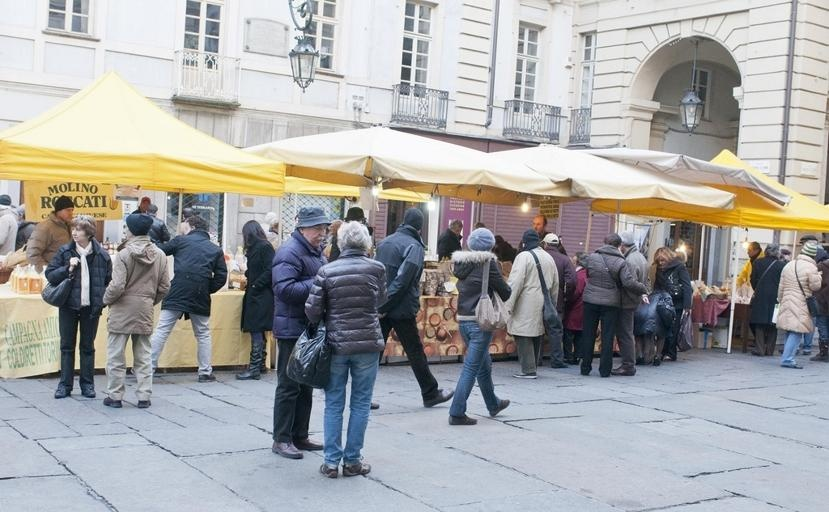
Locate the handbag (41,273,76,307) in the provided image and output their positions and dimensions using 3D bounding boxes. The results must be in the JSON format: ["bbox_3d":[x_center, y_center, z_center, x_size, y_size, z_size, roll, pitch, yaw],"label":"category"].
[{"bbox_3d":[-5.414,0.529,16.474,0.528,0.478,0.216,9,-13,39],"label":"handbag"}]

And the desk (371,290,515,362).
[{"bbox_3d":[0.446,1.325,19.857,1.678,0.718,1.592,-1,1,-20],"label":"desk"}]

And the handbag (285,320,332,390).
[{"bbox_3d":[-1.452,1.352,14.690,0.617,0.868,0.270,1,2,4],"label":"handbag"}]

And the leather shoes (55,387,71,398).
[{"bbox_3d":[-5.442,2.111,16.684,0.239,0.165,0.148,0,3,-17],"label":"leather shoes"}]

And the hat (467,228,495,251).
[{"bbox_3d":[1.001,-0.213,16.522,0.355,0.309,0.367,4,37,6],"label":"hat"}]

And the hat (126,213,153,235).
[{"bbox_3d":[-4.158,-0.465,16.407,0.391,0.320,0.295,2,-14,46],"label":"hat"}]

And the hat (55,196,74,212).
[{"bbox_3d":[-5.674,-0.839,17.470,0.304,0.249,0.287,9,6,32],"label":"hat"}]

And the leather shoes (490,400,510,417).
[{"bbox_3d":[1.304,2.373,16.790,0.324,0.129,0.108,-31,44,-17],"label":"leather shoes"}]

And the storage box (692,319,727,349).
[{"bbox_3d":[6.309,1.729,23.391,1.057,0.626,0.594,0,-1,-31],"label":"storage box"}]

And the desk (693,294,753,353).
[{"bbox_3d":[6.230,1.464,23.376,1.673,1.017,0.971,4,0,-33],"label":"desk"}]

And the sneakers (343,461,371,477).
[{"bbox_3d":[-0.808,2.934,14.849,0.380,0.145,0.163,1,-2,-26],"label":"sneakers"}]

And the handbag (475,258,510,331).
[{"bbox_3d":[1.157,0.622,16.368,0.487,1.050,0.247,1,2,-9],"label":"handbag"}]

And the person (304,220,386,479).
[{"bbox_3d":[-0.937,1.288,14.745,1.014,3.466,0.288,1,2,-4],"label":"person"}]

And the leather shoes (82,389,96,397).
[{"bbox_3d":[-5.049,2.135,16.745,0.100,0.077,0.230,2,-7,-38],"label":"leather shoes"}]

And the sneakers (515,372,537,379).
[{"bbox_3d":[1.958,2.128,19.068,0.387,0.145,0.125,3,-2,23],"label":"sneakers"}]

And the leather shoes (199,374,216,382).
[{"bbox_3d":[-3.444,2.034,17.910,0.278,0.104,0.116,-2,1,-19],"label":"leather shoes"}]

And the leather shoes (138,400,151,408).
[{"bbox_3d":[-4.122,2.260,16.515,0.216,0.116,0.129,-1,3,-37],"label":"leather shoes"}]

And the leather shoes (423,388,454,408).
[{"bbox_3d":[0.356,2.256,17.094,0.596,0.221,0.214,-11,15,-35],"label":"leather shoes"}]

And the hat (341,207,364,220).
[{"bbox_3d":[-1.140,-0.772,19.865,0.514,0.212,0.633,3,11,2],"label":"hat"}]

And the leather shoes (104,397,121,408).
[{"bbox_3d":[-4.591,2.227,16.409,0.292,0.105,0.119,7,5,37],"label":"leather shoes"}]

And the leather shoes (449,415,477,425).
[{"bbox_3d":[0.723,2.497,16.397,0.419,0.148,0.150,0,0,-11],"label":"leather shoes"}]

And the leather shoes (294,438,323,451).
[{"bbox_3d":[-1.509,2.695,15.410,0.476,0.174,0.150,1,-2,-5],"label":"leather shoes"}]

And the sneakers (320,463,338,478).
[{"bbox_3d":[-1.165,2.933,14.736,0.122,0.117,0.298,2,2,-31],"label":"sneakers"}]

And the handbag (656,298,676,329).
[{"bbox_3d":[4.783,1.068,20.619,0.445,0.528,0.202,1,-5,-5],"label":"handbag"}]
